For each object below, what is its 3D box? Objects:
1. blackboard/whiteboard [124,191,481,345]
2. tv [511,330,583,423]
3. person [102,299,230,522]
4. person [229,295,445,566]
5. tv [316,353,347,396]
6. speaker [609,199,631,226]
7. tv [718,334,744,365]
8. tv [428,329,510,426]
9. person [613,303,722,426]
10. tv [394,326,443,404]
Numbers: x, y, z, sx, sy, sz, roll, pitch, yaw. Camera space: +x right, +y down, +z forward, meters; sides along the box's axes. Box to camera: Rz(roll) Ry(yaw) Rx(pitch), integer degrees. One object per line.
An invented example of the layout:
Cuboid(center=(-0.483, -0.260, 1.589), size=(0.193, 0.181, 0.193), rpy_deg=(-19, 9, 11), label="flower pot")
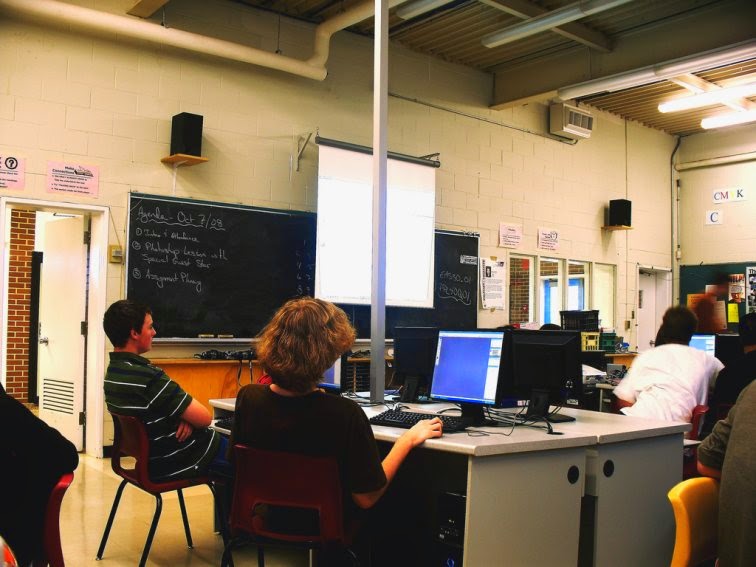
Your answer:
Cuboid(center=(-0.786, -0.199, 6.829), size=(3.729, 1.318, 0.119), rpy_deg=(-2, 9, -32), label="blackboard/whiteboard")
Cuboid(center=(0.897, 0.477, 3.375), size=(0.438, 0.582, 0.205), rpy_deg=(1, 2, 26), label="tv")
Cuboid(center=(-1.142, 0.669, 3.394), size=(0.751, 0.880, 0.434), rpy_deg=(2, 1, -2), label="person")
Cuboid(center=(-0.276, 0.534, 2.623), size=(0.626, 0.859, 0.258), rpy_deg=(2, 1, -15), label="person")
Cuboid(center=(-0.263, 0.541, 3.895), size=(0.166, 0.238, 0.241), rpy_deg=(5, -6, -8), label="tv")
Cuboid(center=(3.780, -1.108, 9.849), size=(0.329, 0.484, 0.248), rpy_deg=(8, -8, -32), label="speaker")
Cuboid(center=(2.939, 0.548, 5.263), size=(0.279, 0.274, 0.067), rpy_deg=(2, -19, -1), label="tv")
Cuboid(center=(0.418, 0.456, 3.298), size=(0.420, 0.485, 0.211), rpy_deg=(6, 17, -26), label="tv")
Cuboid(center=(2.394, 0.634, 5.290), size=(0.635, 1.242, 0.703), rpy_deg=(11, 13, 19), label="person")
Cuboid(center=(0.219, 0.499, 3.976), size=(0.274, 0.482, 0.161), rpy_deg=(1, -9, 19), label="tv")
